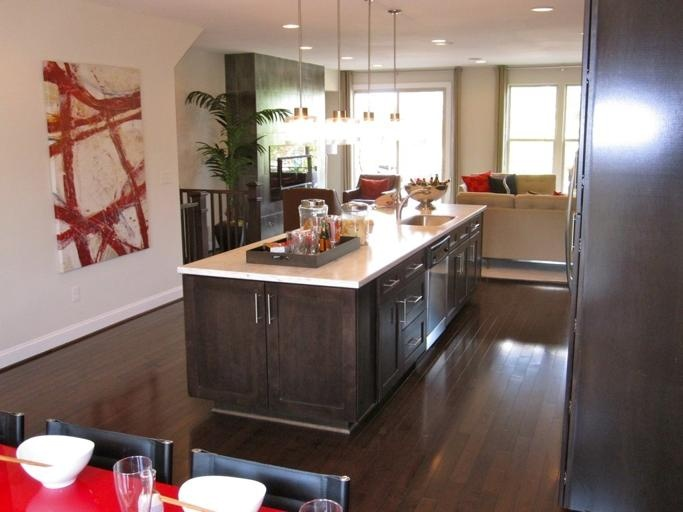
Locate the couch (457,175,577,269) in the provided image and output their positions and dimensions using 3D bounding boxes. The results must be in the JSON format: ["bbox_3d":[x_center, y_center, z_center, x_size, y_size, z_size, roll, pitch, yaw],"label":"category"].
[{"bbox_3d":[2.684,-0.550,7.759,1.866,0.840,1.049,3,16,21],"label":"couch"}]

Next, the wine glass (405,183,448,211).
[{"bbox_3d":[0.934,-0.678,5.956,0.373,0.221,0.380,6,13,24],"label":"wine glass"}]

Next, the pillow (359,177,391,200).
[{"bbox_3d":[0.642,-1.295,10.329,0.563,0.373,0.375,0,14,3],"label":"pillow"}]

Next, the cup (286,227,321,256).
[{"bbox_3d":[-0.259,-0.102,3.669,0.179,0.185,0.179,1,8,0],"label":"cup"}]

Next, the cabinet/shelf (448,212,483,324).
[{"bbox_3d":[1.306,0.128,5.608,0.469,0.867,1.010,2,15,18],"label":"cabinet/shelf"}]

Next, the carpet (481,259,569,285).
[{"bbox_3d":[2.578,0.225,7.456,0.669,0.159,0.603,3,12,24],"label":"carpet"}]

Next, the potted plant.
[{"bbox_3d":[-1.705,-1.335,8.234,1.419,2.449,2.200,1,14,6],"label":"potted plant"}]

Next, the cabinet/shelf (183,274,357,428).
[{"bbox_3d":[-0.383,0.503,3.921,1.603,1.200,0.883,1,5,18],"label":"cabinet/shelf"}]

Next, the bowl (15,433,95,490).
[{"bbox_3d":[-0.918,0.706,1.728,0.202,0.082,0.186,-4,-15,-1],"label":"bowl"}]

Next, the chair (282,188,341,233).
[{"bbox_3d":[-0.306,-0.478,5.413,0.614,0.636,0.340,6,12,31],"label":"chair"}]

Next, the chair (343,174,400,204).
[{"bbox_3d":[0.610,-1.326,10.317,0.744,0.790,0.756,2,6,21],"label":"chair"}]
